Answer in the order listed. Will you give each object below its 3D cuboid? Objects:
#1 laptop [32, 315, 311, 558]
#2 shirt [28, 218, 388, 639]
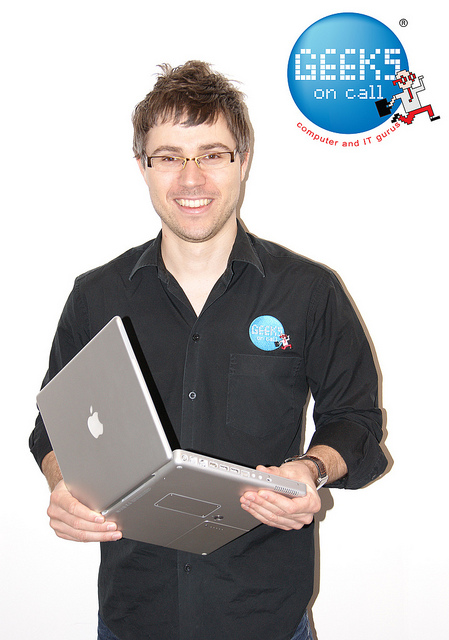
[{"bbox_3d":[-0.021,0.214,1.119,0.429,0.292,0.370,-1,22,38],"label":"laptop"},{"bbox_3d":[-0.039,0.268,1.610,0.892,0.930,0.676,0,20,14],"label":"shirt"}]
